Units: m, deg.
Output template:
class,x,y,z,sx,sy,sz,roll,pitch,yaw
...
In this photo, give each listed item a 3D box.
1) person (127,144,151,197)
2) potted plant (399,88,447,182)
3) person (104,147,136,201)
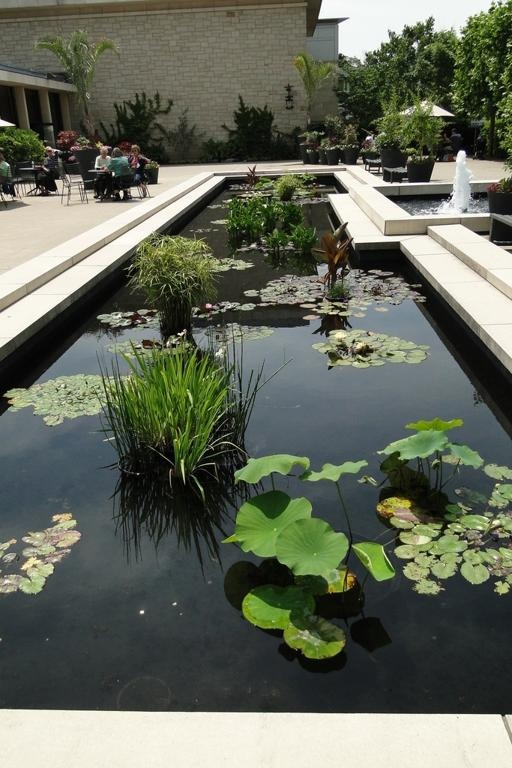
class,x,y,z,sx,sy,sz,roll,pitch,yaw
person,-2.884,-5.279,12.354,0.450,1.177,0.461,-4,11,-7
potted plant,4.007,-5.728,12.015,0.899,1.538,1.007,-6,25,27
person,-2.984,-4.672,11.072,0.498,1.075,1.088,-7,21,-13
